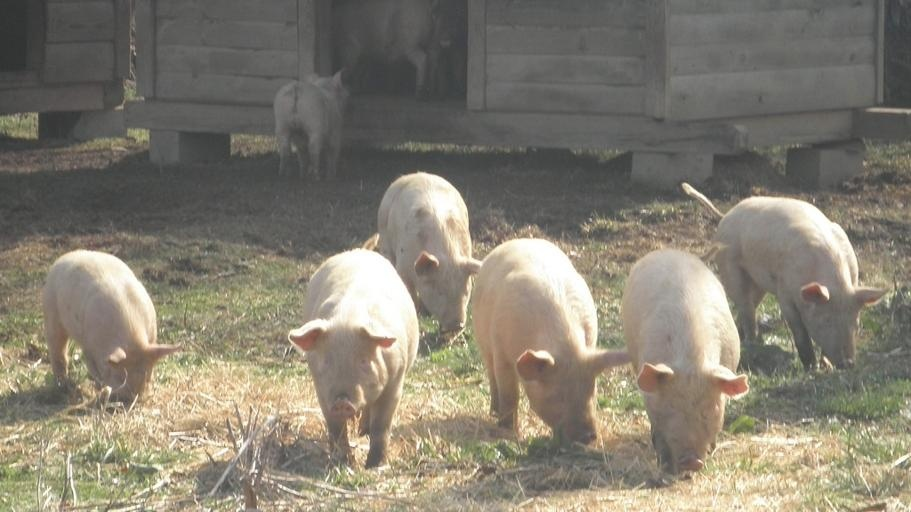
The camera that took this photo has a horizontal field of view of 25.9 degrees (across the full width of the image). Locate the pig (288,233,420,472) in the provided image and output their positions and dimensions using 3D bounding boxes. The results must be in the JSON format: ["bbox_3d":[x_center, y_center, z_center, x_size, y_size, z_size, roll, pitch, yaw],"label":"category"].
[{"bbox_3d":[-1.515,1.343,29.098,1.484,3.351,2.092,2,-1,6],"label":"pig"}]

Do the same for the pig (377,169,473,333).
[{"bbox_3d":[-0.402,-0.002,31.525,1.162,1.474,2.745,-1,44,-12],"label":"pig"}]

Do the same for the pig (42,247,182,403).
[{"bbox_3d":[-5.246,0.853,30.289,1.311,2.059,2.875,-11,25,-35],"label":"pig"}]

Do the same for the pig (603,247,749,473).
[{"bbox_3d":[3.373,1.560,30.039,1.694,2.715,4.539,-1,26,-1],"label":"pig"}]

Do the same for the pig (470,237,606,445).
[{"bbox_3d":[1.238,1.311,30.080,1.674,2.965,3.975,-1,17,-13],"label":"pig"}]
